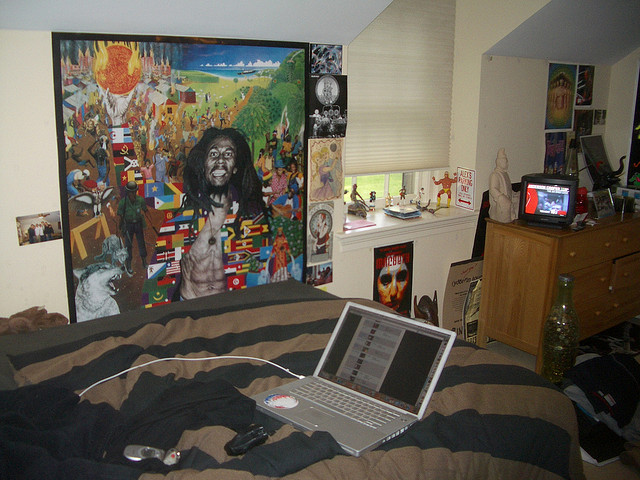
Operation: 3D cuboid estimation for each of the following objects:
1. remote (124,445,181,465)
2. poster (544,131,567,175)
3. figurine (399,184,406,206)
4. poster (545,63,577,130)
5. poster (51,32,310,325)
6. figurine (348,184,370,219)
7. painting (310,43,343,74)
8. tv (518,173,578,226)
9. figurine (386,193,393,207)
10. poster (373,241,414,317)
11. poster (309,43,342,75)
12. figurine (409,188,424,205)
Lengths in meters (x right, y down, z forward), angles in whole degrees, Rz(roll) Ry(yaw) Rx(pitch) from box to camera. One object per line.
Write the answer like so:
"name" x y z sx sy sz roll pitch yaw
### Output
"remote" -0.502 0.636 1.431 0.133 0.031 0.066 5 1 -2
"poster" 2.079 -0.764 4.260 0.316 0.368 0.023 -10 15 -32
"figurine" 0.676 -0.363 3.977 0.053 0.167 0.182 1 13 9
"poster" 2.089 -1.246 4.183 0.484 0.575 0.017 -11 16 -34
"poster" -0.731 -0.376 2.739 1.429 1.501 0.089 -9 14 -28
"figurine" 0.284 -0.307 3.686 0.149 0.254 0.167 5 16 18
"painting" 0.034 -1.153 3.085 0.246 0.181 0.023 -8 21 -27
"tv" 1.712 -0.373 3.618 0.412 0.394 0.430 5 40 23
"figurine" 0.560 -0.324 3.922 0.051 0.105 0.069 0 13 7
"poster" 0.538 0.335 3.625 0.321 0.600 0.006 -7 19 -17
"poster" 0.021 -1.156 3.065 0.203 0.149 0.027 -9 22 -27
"figurine" 0.825 -0.369 4.033 0.147 0.152 0.073 -10 32 -26
